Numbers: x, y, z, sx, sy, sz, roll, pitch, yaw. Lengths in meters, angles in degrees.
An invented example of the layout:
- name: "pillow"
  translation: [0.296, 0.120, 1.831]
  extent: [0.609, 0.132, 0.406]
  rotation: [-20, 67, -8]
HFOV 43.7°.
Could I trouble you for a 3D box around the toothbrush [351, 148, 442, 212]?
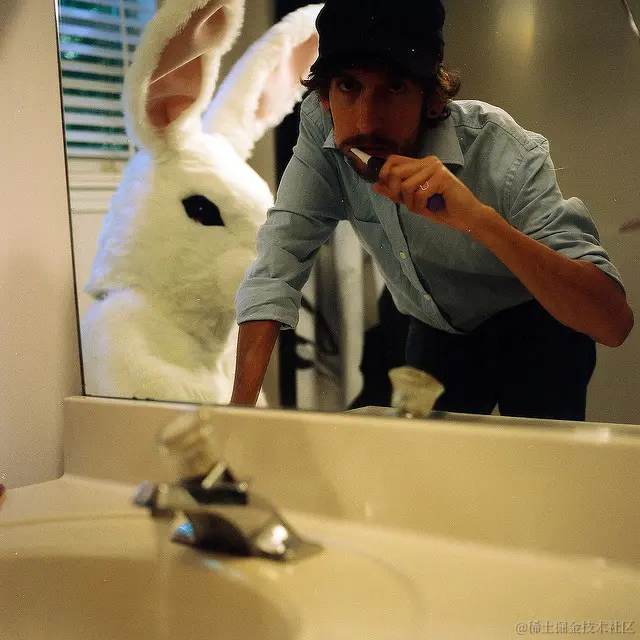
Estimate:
- name: "toothbrush"
  translation: [0.085, -0.160, 0.907]
  extent: [0.118, 0.060, 0.024]
  rotation: [15, 14, 38]
